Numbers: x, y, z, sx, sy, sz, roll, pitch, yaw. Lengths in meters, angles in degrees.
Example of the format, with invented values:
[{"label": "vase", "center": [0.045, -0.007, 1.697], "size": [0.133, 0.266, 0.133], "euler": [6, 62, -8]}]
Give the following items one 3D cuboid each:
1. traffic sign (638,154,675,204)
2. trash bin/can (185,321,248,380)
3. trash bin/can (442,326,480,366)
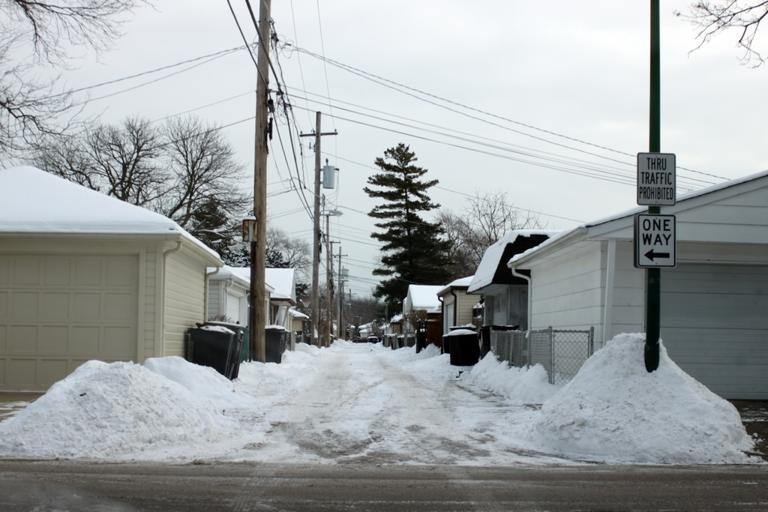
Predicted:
[{"label": "traffic sign", "center": [5.380, -1.522, 16.336], "size": [0.843, 1.070, 0.425], "euler": [4, -7, -20]}, {"label": "trash bin/can", "center": [-4.382, 2.456, 21.566], "size": [1.360, 1.962, 1.372], "euler": [2, 4, -18]}, {"label": "trash bin/can", "center": [2.771, 3.203, 28.878], "size": [1.114, 1.255, 1.153], "euler": [0, -2, 21]}]
